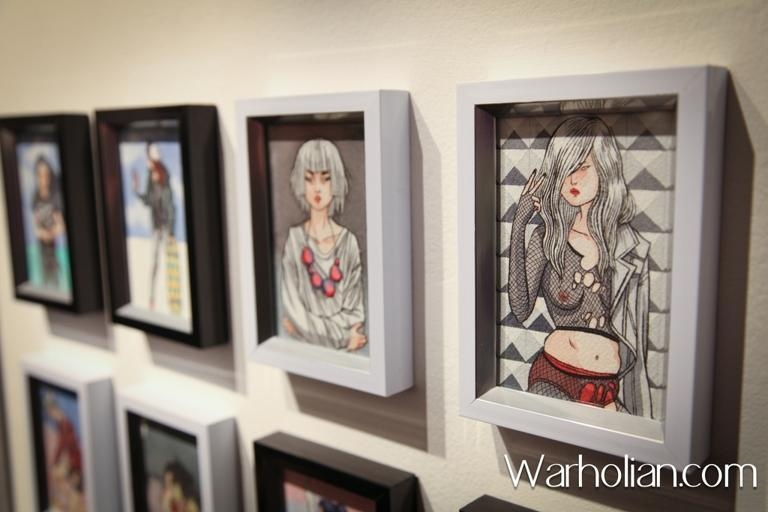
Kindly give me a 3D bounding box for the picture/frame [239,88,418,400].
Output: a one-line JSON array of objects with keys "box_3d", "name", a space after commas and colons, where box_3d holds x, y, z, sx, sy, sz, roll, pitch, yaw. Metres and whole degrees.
[{"box_3d": [-0.106, -0.030, 1.058, 0.336, 0.475, 0.092, 5, 12, 31], "name": "picture/frame"}]
